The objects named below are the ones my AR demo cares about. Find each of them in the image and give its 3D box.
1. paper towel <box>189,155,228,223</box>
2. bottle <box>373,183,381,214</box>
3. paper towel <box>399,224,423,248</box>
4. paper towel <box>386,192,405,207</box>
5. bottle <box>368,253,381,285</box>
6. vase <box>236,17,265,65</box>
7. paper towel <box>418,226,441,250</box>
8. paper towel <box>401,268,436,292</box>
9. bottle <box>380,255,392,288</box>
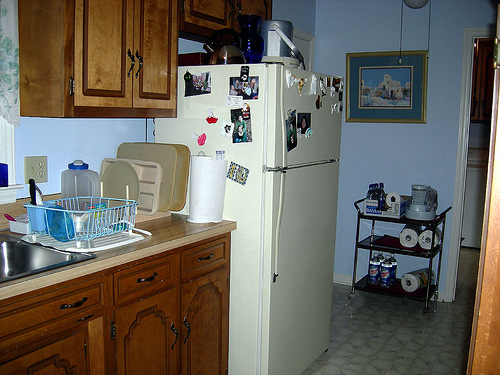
[{"bbox_3d":[-0.242,0.015,2.306,0.212,0.373,0.097,-1,9,-10],"label":"paper towel"},{"bbox_3d":[1.189,0.102,3.748,0.080,0.250,0.217,4,10,17],"label":"bottle"},{"bbox_3d":[1.474,0.437,3.725,0.167,0.194,0.225,1,12,17],"label":"paper towel"},{"bbox_3d":[1.347,0.108,3.656,0.194,0.129,0.111,-5,11,-28],"label":"paper towel"},{"bbox_3d":[1.169,0.771,3.778,0.106,0.260,0.114,1,9,0],"label":"bottle"},{"bbox_3d":[0.013,-0.913,2.501,0.168,0.290,0.209,-2,10,-14],"label":"vase"},{"bbox_3d":[1.652,0.444,3.655,0.191,0.189,0.209,-6,2,29],"label":"paper towel"},{"bbox_3d":[1.570,0.850,3.707,0.343,0.157,0.212,-9,14,-43],"label":"paper towel"},{"bbox_3d":[1.269,0.789,3.726,0.085,0.250,0.113,5,10,24],"label":"bottle"}]
